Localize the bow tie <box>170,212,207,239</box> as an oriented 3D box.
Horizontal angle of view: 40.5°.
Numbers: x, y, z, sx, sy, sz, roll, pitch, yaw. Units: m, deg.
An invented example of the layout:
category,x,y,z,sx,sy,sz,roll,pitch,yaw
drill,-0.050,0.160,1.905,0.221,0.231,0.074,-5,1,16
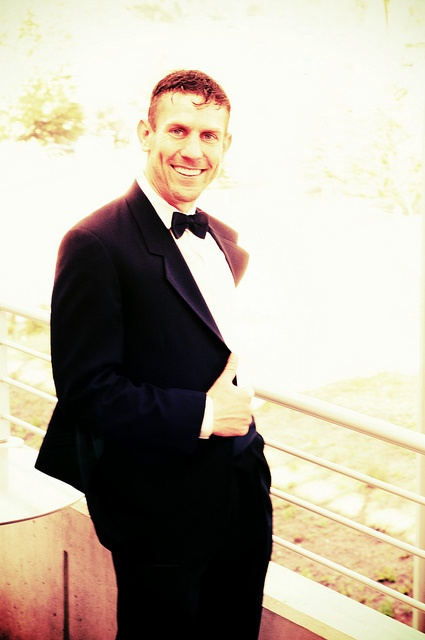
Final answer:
category,x,y,z,sx,sy,sz,roll,pitch,yaw
bow tie,-0.059,-0.228,1.395,0.089,0.057,0.021,0,4,-44
